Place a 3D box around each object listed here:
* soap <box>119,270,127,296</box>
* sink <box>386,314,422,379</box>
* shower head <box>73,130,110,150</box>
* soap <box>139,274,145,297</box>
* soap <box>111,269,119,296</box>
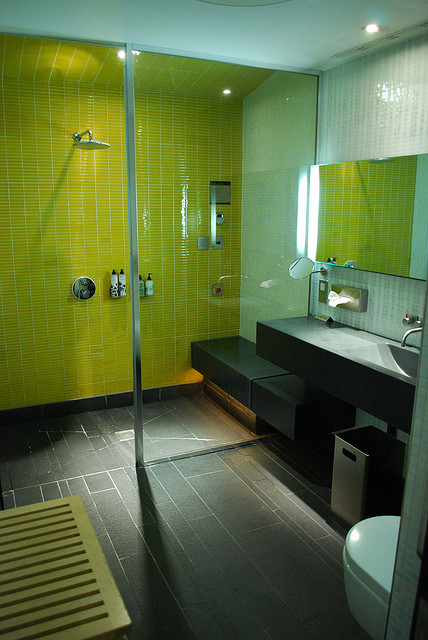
[{"bbox_3d":[-0.788,-0.326,4.097,0.044,0.215,0.114,-1,10,-3],"label":"soap"},{"bbox_3d":[0.983,0.135,2.460,0.127,0.259,0.254,-8,18,-15],"label":"sink"},{"bbox_3d":[-0.917,-1.319,3.568,0.200,0.136,0.315,-6,12,-31],"label":"shower head"},{"bbox_3d":[-0.466,-0.226,3.070,0.033,0.134,0.011,-5,11,-25],"label":"soap"},{"bbox_3d":[-0.841,-0.298,4.040,0.063,0.174,0.030,-2,10,-6],"label":"soap"}]
